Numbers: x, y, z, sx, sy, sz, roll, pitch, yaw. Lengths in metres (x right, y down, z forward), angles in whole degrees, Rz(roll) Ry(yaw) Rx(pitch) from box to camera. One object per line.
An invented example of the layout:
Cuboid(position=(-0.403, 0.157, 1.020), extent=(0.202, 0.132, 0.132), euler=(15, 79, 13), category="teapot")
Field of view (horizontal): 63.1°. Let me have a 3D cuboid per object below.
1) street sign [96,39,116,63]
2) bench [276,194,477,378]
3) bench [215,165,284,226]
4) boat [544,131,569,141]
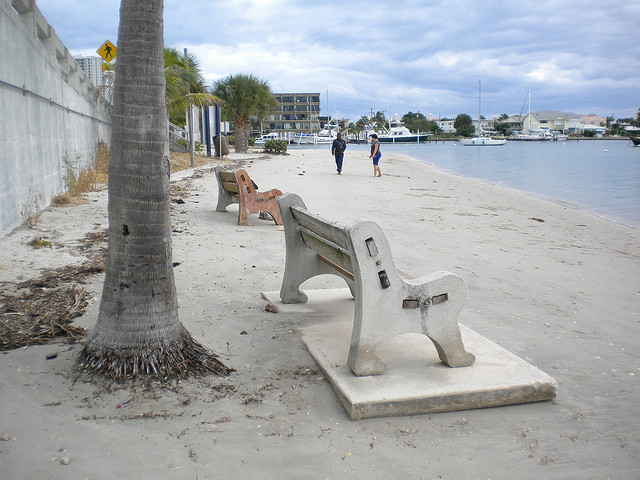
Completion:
Cuboid(position=(-6.128, -5.410, 14.894), extent=(0.409, 0.488, 0.787), euler=(-2, 13, -24), category="street sign")
Cuboid(position=(0.585, 0.307, 5.908), extent=(1.928, 1.424, 2.446), euler=(0, 13, -16), category="bench")
Cuboid(position=(-1.878, -1.143, 12.135), extent=(1.026, 1.180, 2.733), euler=(-3, 14, -29), category="bench")
Cuboid(position=(74.871, -33.564, 166.951), extent=(5.881, 3.056, 18.462), euler=(9, 13, 22), category="boat")
